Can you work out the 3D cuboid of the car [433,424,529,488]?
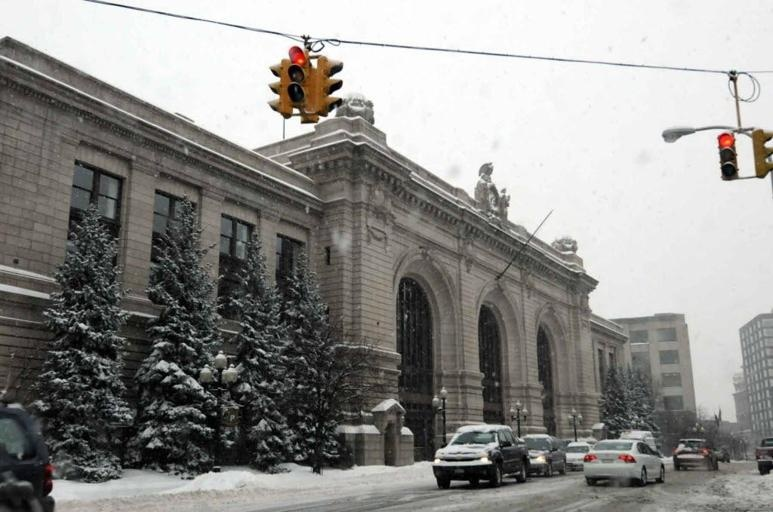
[{"bbox_3d":[4.556,9.225,37.132,3.178,2.640,6.392,-8,-13,30],"label":"car"}]
